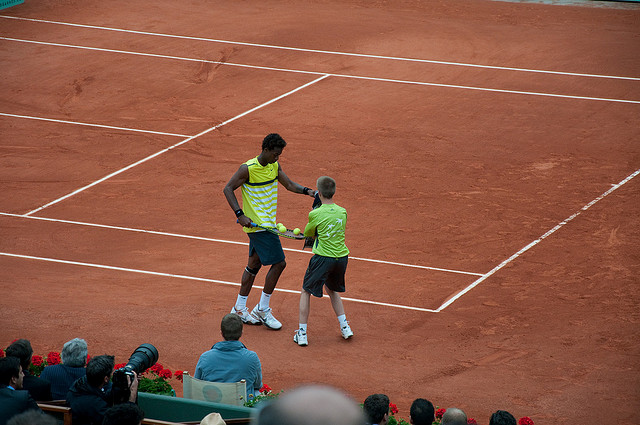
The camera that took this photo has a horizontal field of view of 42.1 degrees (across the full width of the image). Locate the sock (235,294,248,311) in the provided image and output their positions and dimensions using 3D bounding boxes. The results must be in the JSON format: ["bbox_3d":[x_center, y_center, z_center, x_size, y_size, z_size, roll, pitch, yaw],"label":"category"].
[{"bbox_3d":[-1.519,1.732,16.011,0.197,0.315,0.167,7,-7,-9],"label":"sock"}]

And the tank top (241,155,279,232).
[{"bbox_3d":[-1.101,-0.376,15.770,0.747,1.279,0.408,6,-7,-3],"label":"tank top"}]

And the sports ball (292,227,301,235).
[{"bbox_3d":[-0.437,0.328,15.554,0.158,0.103,0.111,-1,-35,9],"label":"sports ball"}]

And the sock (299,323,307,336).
[{"bbox_3d":[-0.313,2.177,15.499,0.108,0.232,0.177,5,-7,13],"label":"sock"}]

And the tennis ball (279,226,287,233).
[{"bbox_3d":[-0.673,0.304,15.664,0.142,0.103,0.123,20,-9,-21],"label":"tennis ball"}]
